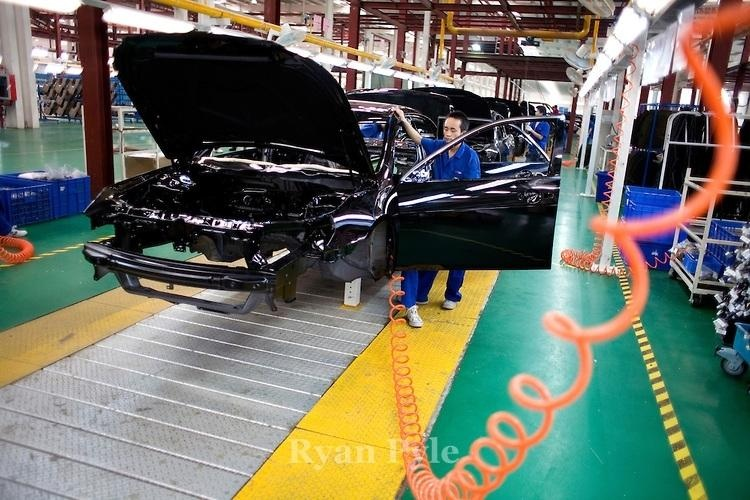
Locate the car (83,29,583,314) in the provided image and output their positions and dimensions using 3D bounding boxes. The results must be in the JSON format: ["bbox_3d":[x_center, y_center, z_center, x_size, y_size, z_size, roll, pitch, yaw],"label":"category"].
[{"bbox_3d":[-0.347,-0.734,5.273,3.180,1.221,3.902,7,13,23],"label":"car"}]
